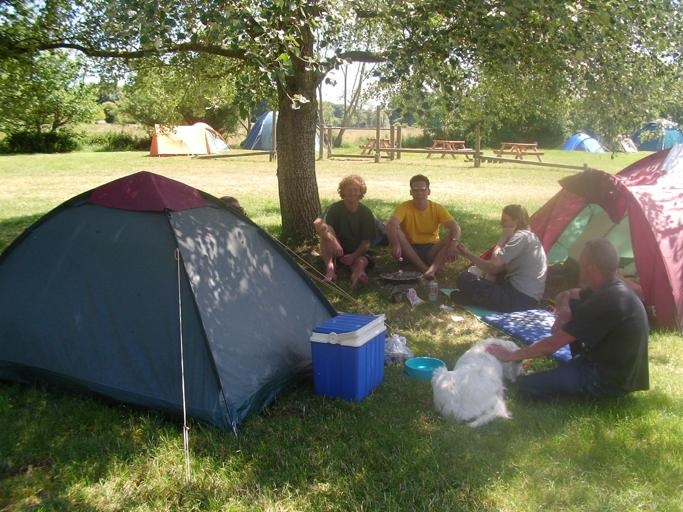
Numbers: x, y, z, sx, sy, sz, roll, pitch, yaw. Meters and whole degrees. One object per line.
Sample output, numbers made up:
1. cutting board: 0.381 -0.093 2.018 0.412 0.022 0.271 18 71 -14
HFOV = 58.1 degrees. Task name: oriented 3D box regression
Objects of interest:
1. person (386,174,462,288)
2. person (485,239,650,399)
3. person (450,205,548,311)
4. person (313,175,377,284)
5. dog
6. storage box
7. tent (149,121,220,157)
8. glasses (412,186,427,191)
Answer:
1. person: 1.140 -0.392 8.544 0.969 1.399 0.790 2 13 8
2. person: 2.387 0.572 6.049 1.089 1.555 1.409 4 10 31
3. person: 2.080 0.040 8.117 1.092 1.549 1.111 7 -5 -11
4. person: 0.093 -0.388 8.449 0.790 1.555 1.394 2 15 0
5. dog: 1.276 1.163 5.741 0.832 0.525 0.739 0 14 -3
6. storage box: 0.094 0.990 6.126 0.517 0.755 0.819 2 6 22
7. tent: -7.382 -5.449 29.083 0.967 1.416 5.116 5 16 20
8. glasses: 1.067 -0.917 8.437 0.184 0.058 0.090 2 15 6
